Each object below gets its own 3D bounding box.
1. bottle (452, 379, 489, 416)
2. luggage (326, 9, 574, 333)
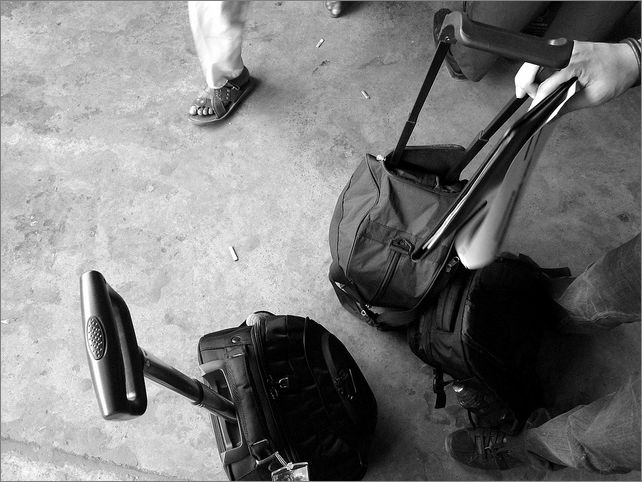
[{"bbox_3d":[0.580,0.603,2.156,0.082,0.154,0.093,-19,50,19],"label":"bottle"},{"bbox_3d":[0.518,-0.223,2.186,0.505,1.225,0.672,38,68,11],"label":"luggage"}]
